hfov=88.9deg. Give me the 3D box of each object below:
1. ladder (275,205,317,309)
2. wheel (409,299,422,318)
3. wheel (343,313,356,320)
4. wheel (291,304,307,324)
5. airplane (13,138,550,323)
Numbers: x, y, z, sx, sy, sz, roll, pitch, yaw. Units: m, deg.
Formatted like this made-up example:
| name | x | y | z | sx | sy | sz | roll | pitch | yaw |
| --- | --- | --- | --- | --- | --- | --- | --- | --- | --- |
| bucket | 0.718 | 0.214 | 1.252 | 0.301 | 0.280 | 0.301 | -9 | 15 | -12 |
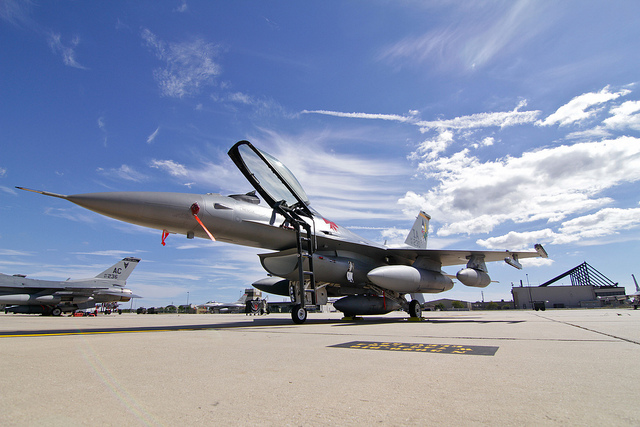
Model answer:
| name | x | y | z | sx | sy | sz | roll | pitch | yaw |
| --- | --- | --- | --- | --- | --- | --- | --- | --- | --- |
| ladder | -1.049 | 2.132 | 12.442 | 2.197 | 3.908 | 1.467 | 0 | 0 | 0 |
| wheel | 4.613 | 5.437 | 15.924 | 0.990 | 0.929 | 0.382 | 15 | -22 | -39 |
| wheel | 1.360 | 5.572 | 15.196 | 0.518 | 0.302 | 0.795 | 0 | -15 | 1 |
| wheel | -0.760 | 4.261 | 11.811 | 0.316 | 0.763 | 0.647 | -9 | -20 | 29 |
| airplane | -0.083 | 1.932 | 13.952 | 14.304 | 3.865 | 10.191 | 12 | -15 | -39 |
